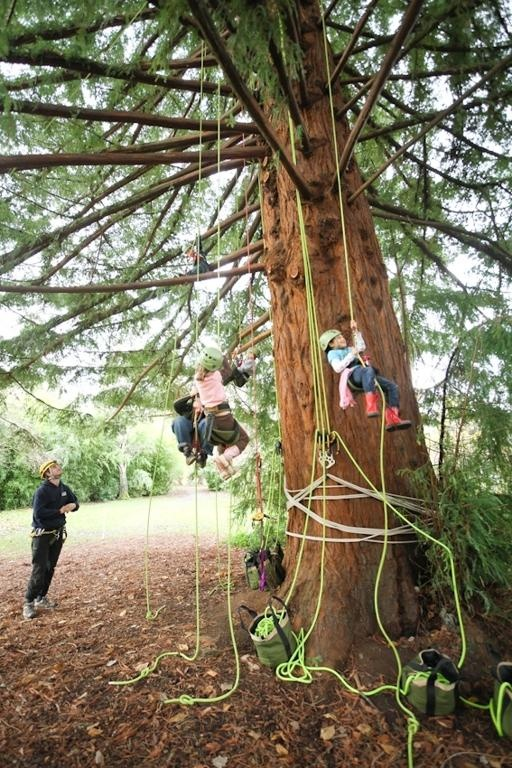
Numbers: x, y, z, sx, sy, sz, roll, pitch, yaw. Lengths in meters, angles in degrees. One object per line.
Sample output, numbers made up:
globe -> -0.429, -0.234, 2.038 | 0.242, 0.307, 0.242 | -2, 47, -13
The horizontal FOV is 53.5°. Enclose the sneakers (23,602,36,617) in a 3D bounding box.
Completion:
sneakers -> -2.212, 2.212, 4.948 | 0.082, 0.108, 0.235 | 5, -22, -21

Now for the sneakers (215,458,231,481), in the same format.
sneakers -> -0.251, 0.652, 3.970 | 0.075, 0.169, 0.231 | -2, 0, 34

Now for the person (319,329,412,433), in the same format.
person -> 0.673, -0.075, 3.254 | 0.374, 0.865, 0.283 | -1, -45, -17

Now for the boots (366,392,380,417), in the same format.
boots -> 0.681, 0.119, 2.981 | 0.059, 0.124, 0.133 | -6, -3, 10

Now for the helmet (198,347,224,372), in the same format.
helmet -> -0.317, -0.170, 3.621 | 0.123, 0.143, 0.176 | 14, -6, -17

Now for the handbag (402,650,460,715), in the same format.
handbag -> 0.921, 1.618, 2.777 | 0.300, 0.318, 0.271 | 7, -15, -8

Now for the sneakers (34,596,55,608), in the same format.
sneakers -> -2.211, 2.270, 5.282 | 0.255, 0.115, 0.089 | 4, -15, -4

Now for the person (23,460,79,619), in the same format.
person -> -2.168, 1.573, 5.324 | 0.582, 1.520, 0.855 | -4, -3, -22

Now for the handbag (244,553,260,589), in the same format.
handbag -> -0.033, 1.578, 4.332 | 0.170, 0.302, 0.292 | -1, -16, -2

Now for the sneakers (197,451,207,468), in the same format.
sneakers -> -0.419, 0.601, 4.000 | 0.083, 0.105, 0.117 | 2, -47, -4

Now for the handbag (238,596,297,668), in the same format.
handbag -> 0.117, 1.574, 3.274 | 0.253, 0.425, 0.331 | -17, 6, 44

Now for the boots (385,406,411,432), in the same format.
boots -> 0.860, 0.214, 3.108 | 0.181, 0.184, 0.091 | -6, -6, 18

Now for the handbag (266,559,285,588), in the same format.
handbag -> 0.161, 1.542, 4.185 | 0.120, 0.194, 0.198 | -7, -3, 28
